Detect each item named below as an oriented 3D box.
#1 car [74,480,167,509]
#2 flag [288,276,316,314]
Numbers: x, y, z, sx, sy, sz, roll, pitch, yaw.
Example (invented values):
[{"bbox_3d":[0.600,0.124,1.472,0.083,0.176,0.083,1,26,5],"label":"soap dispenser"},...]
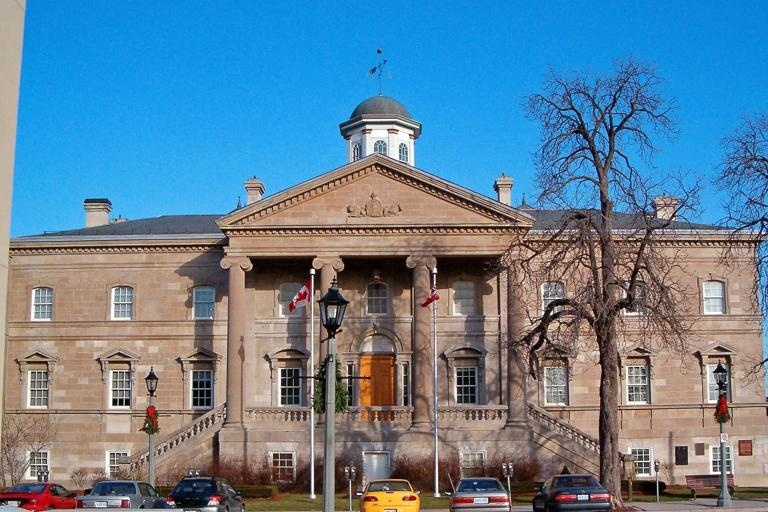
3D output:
[{"bbox_3d":[-14.335,13.043,90.274,2.382,1.788,4.767,-15,-19,41],"label":"car"},{"bbox_3d":[-5.367,2.567,106.431,0.289,2.556,2.335,4,-8,-41],"label":"flag"}]
